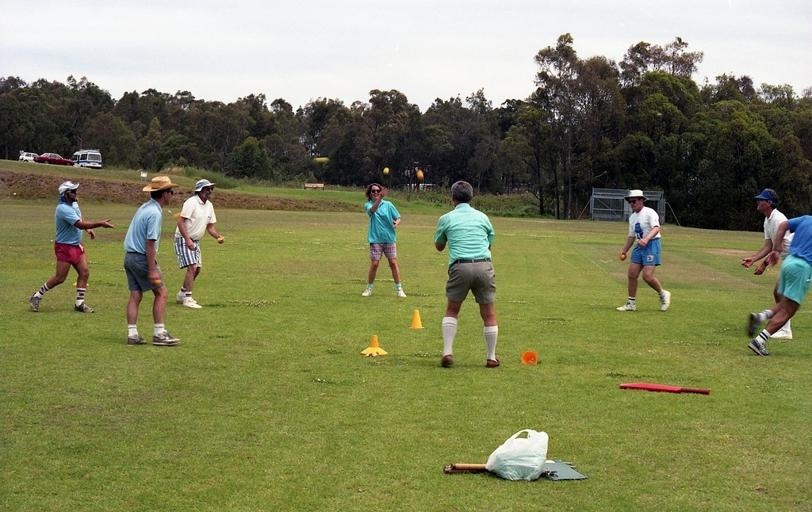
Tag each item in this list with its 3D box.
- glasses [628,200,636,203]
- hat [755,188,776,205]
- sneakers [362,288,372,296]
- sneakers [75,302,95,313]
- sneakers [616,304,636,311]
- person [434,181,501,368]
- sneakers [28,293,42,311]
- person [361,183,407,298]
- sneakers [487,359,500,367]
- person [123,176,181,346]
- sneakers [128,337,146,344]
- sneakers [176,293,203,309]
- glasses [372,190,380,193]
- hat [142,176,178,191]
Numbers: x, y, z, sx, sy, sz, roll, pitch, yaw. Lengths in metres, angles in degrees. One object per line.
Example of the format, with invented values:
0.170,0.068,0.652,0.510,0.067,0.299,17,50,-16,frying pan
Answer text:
5.010,-1.225,19.292,0.137,0.092,0.301,1,5,-6,glasses
7.062,-1.168,16.997,0.357,0.250,0.319,5,6,34,hat
-0.919,0.865,20.425,0.308,0.205,0.106,6,13,15,sneakers
-6.446,1.058,17.486,0.481,0.195,0.185,3,6,1,sneakers
4.910,1.182,19.353,0.445,0.185,0.168,2,3,6,sneakers
1.075,0.315,14.760,1.147,3.132,0.825,2,5,8,person
-7.386,0.954,17.352,0.155,0.333,0.115,-14,-9,7,sneakers
-0.506,-0.393,20.714,0.988,2.650,1.509,1,5,-1,person
1.485,1.830,14.646,0.260,0.132,0.183,0,5,-12,sneakers
-4.498,0.087,15.306,0.819,2.981,0.614,0,5,-19,person
-4.726,1.522,15.267,0.121,0.139,0.341,3,2,42,sneakers
-4.560,0.958,18.343,0.257,0.275,0.674,-6,9,-44,sneakers
-0.684,-1.490,20.095,0.166,0.076,0.060,-1,5,-25,glasses
-4.333,-1.303,15.646,0.515,0.210,0.584,-1,6,15,hat
